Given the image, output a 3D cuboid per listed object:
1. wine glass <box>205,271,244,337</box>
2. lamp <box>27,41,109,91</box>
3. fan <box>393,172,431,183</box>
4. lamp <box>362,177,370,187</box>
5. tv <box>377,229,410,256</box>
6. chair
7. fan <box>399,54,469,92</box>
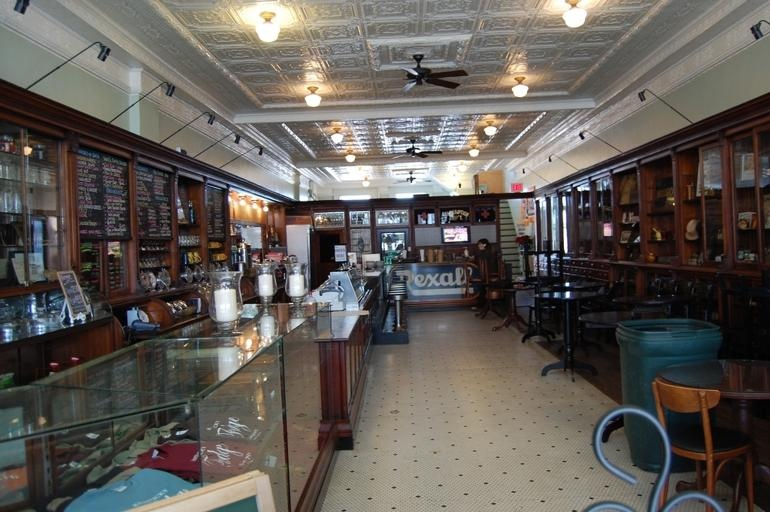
[{"bbox_3d":[-1.127,0.335,3.277,0.292,0.374,0.250,-2,-1,-6],"label":"wine glass"},{"bbox_3d":[-3.609,-2.158,5.341,0.408,0.237,1.210,32,40,21],"label":"lamp"},{"bbox_3d":[1.062,-2.996,18.297,1.471,0.474,2.467,-3,9,5],"label":"fan"},{"bbox_3d":[-0.726,-2.821,18.001,0.330,0.343,0.292,1,-2,-1],"label":"lamp"},{"bbox_3d":[0.278,-0.414,14.656,1.041,0.813,0.096,4,-5,0],"label":"tv"},{"bbox_3d":[2.217,1.306,3.281,0.592,1.034,0.779,3,13,36],"label":"chair"},{"bbox_3d":[0.688,-2.548,6.733,0.759,0.255,0.746,1,6,18],"label":"fan"}]
